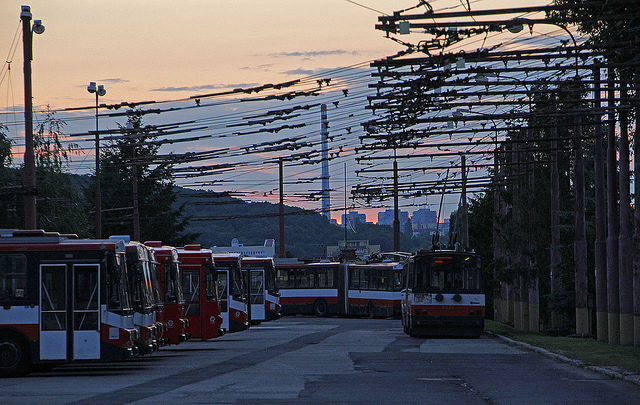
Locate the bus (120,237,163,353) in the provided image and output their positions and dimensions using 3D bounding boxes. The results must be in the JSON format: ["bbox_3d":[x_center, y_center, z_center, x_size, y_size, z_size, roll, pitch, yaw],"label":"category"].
[{"bbox_3d":[-7.855,3.793,52.319,1.804,4.176,2.389,0,-1,-3],"label":"bus"}]

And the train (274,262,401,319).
[{"bbox_3d":[2.108,5.973,85.355,11.592,3.108,3.382,-2,-2,25],"label":"train"}]

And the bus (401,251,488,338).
[{"bbox_3d":[4.328,4.811,65.447,3.998,4.323,10.233,0,0,-3],"label":"bus"}]

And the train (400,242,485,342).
[{"bbox_3d":[6.840,6.850,69.244,3.580,4.618,11.578,0,-22,4],"label":"train"}]
